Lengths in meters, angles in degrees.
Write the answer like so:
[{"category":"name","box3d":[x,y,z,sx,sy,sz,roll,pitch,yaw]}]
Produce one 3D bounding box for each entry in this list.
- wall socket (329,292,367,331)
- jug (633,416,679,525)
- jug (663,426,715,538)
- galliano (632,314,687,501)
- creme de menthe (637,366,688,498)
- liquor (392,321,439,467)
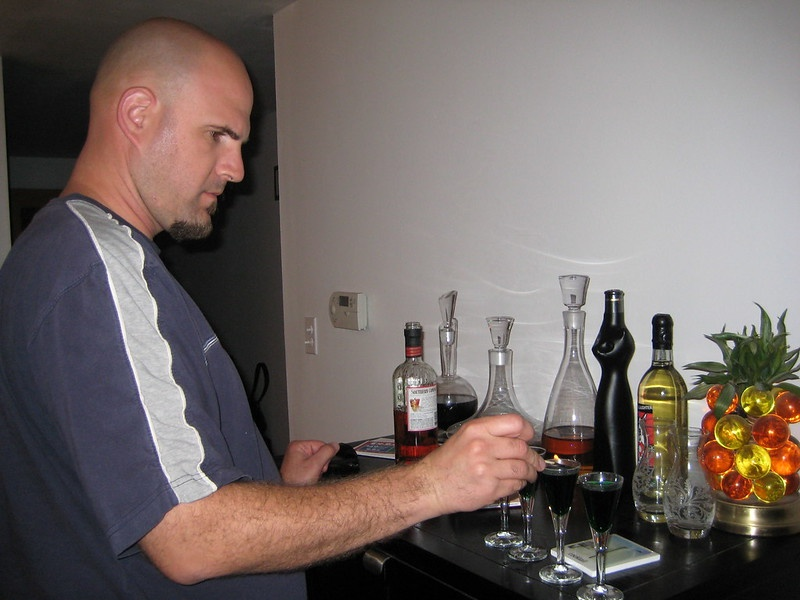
[{"category":"wall socket","box3d":[-0.175,0.037,2.281,0.028,0.093,0.131,-4,6,-36]},{"category":"jug","box3d":[0.491,0.322,1.279,0.062,0.230,0.075,-2,-4,25]},{"category":"jug","box3d":[0.541,0.338,1.241,0.087,0.195,0.086,-1,3,1]},{"category":"galliano","box3d":[0.550,0.235,1.397,0.107,0.408,0.095,-3,8,0]},{"category":"creme de menthe","box3d":[0.545,0.238,1.388,0.081,0.342,0.091,-1,1,9]},{"category":"liquor","box3d":[0.022,0.213,1.554,0.103,0.325,0.112,2,-6,-22]}]
